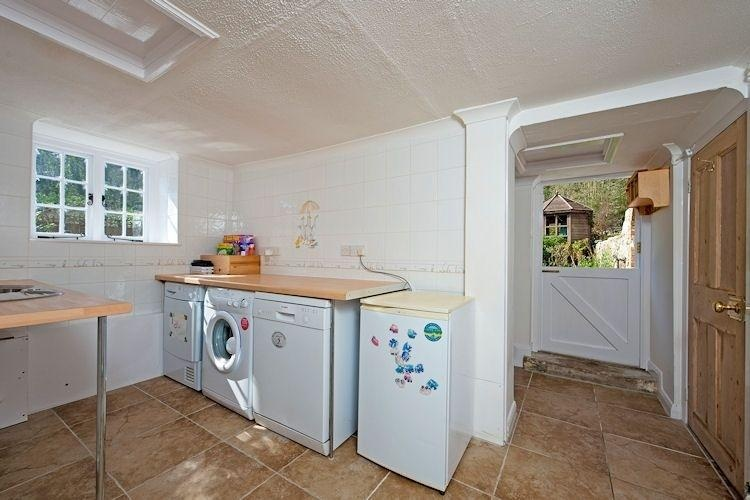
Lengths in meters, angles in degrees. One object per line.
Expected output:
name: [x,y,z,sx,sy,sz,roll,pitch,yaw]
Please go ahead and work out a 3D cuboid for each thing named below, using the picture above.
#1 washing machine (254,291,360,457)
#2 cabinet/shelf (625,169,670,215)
washing machine: [-0.594,0.976,3.580,0.895,1.228,0.309,0,1,18]
cabinet/shelf: [2.687,-0.547,4.303,0.223,0.359,0.623,1,-3,24]
